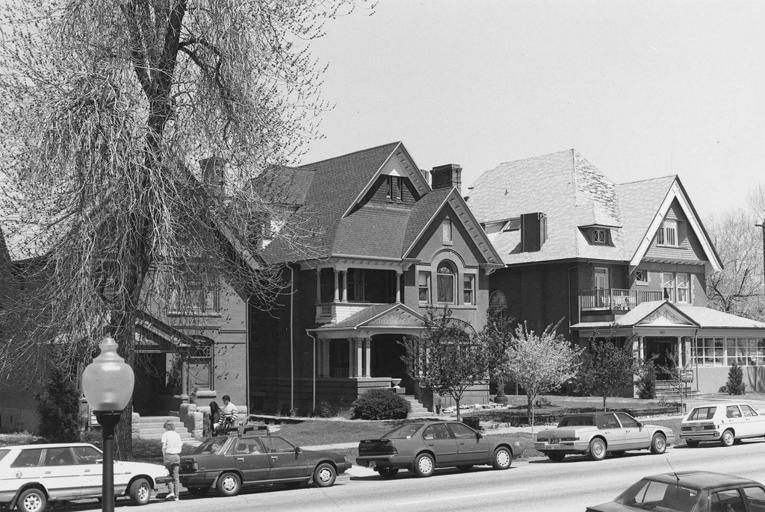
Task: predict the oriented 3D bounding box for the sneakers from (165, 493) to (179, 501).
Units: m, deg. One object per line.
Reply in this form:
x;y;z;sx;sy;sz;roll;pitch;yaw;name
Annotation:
-7.280;8.326;40.810;0.192;0.234;0.495;2;-2;-34;sneakers
